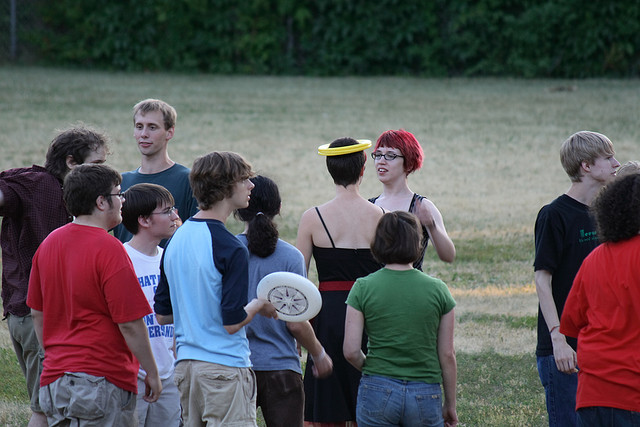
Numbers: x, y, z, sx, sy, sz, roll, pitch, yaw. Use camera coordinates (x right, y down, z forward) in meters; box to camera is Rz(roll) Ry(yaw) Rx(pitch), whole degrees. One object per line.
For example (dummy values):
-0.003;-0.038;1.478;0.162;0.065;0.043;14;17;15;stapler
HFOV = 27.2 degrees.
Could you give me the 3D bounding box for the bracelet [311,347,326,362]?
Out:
0.001;3.542;33.126;0.286;0.295;0.301;-2;6;1;bracelet
